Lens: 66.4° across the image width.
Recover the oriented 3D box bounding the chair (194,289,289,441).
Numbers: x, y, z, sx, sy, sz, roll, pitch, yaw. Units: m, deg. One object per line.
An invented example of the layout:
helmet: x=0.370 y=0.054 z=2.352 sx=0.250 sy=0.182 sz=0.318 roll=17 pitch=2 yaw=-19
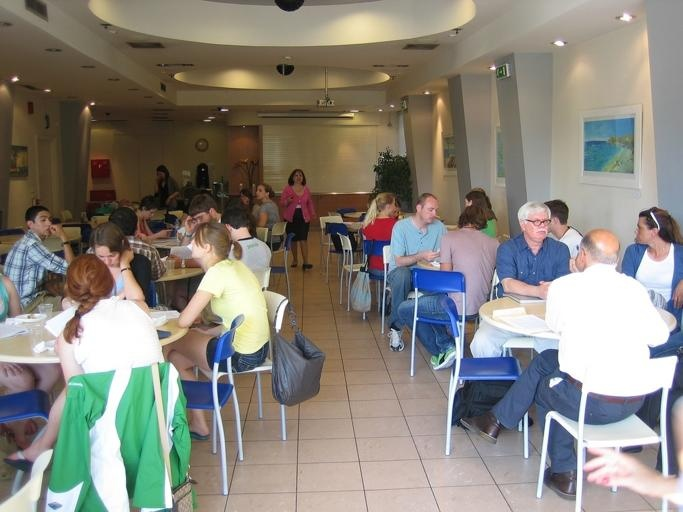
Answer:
chair: x=-0.892 y=0.734 z=4.198 sx=0.780 sy=1.408 sz=0.778 roll=0 pitch=3 yaw=-19

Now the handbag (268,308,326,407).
handbag: x=-0.286 y=0.719 z=3.406 sx=0.326 sy=0.487 sz=0.202 roll=-4 pitch=11 yaw=-22

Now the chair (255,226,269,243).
chair: x=-1.161 y=-0.302 z=7.860 sx=0.200 sy=0.271 sz=0.219 roll=4 pitch=16 yaw=1

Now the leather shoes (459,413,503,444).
leather shoes: x=1.019 y=1.219 z=3.780 sx=0.117 sy=0.166 sz=0.365 roll=10 pitch=5 yaw=-17

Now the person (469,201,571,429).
person: x=1.456 y=0.359 z=4.127 sx=0.849 sy=1.503 sz=0.945 roll=-2 pitch=9 yaw=-12

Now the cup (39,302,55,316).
cup: x=-2.081 y=0.374 z=3.690 sx=0.111 sy=0.109 sz=0.128 roll=0 pitch=-3 yaw=1

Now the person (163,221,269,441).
person: x=-0.894 y=0.573 z=3.834 sx=0.804 sy=1.562 sz=0.606 roll=4 pitch=2 yaw=12

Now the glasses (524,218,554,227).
glasses: x=1.593 y=-0.265 z=4.169 sx=0.222 sy=0.059 sz=0.084 roll=-4 pitch=11 yaw=-20

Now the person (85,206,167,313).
person: x=-1.886 y=-0.041 z=4.630 sx=0.362 sy=1.143 sz=0.305 roll=17 pitch=8 yaw=12

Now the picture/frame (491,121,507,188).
picture/frame: x=2.576 y=-1.628 z=8.503 sx=0.161 sy=0.957 sz=0.471 roll=2 pitch=10 yaw=12

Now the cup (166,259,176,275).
cup: x=-1.655 y=0.105 z=5.147 sx=0.097 sy=0.108 sz=0.100 roll=-1 pitch=-1 yaw=0

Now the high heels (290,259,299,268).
high heels: x=-0.899 y=0.160 z=10.187 sx=0.140 sy=0.177 sz=0.438 roll=-1 pitch=1 yaw=1

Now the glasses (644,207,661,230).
glasses: x=2.421 y=-0.287 z=4.041 sx=0.032 sy=0.134 sz=0.102 roll=-25 pitch=-21 yaw=23

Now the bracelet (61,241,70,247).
bracelet: x=-2.949 y=-0.128 z=5.598 sx=0.079 sy=0.046 sz=0.111 roll=-1 pitch=1 yaw=-12

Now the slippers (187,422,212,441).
slippers: x=-1.027 y=1.293 z=3.806 sx=0.105 sy=0.110 sz=0.262 roll=1 pitch=-3 yaw=-7

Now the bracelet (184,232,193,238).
bracelet: x=-1.818 y=-0.245 z=6.250 sx=0.067 sy=0.063 sz=0.078 roll=-2 pitch=1 yaw=-30

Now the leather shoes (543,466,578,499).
leather shoes: x=1.344 y=1.396 z=3.226 sx=0.077 sy=0.154 sz=0.214 roll=-1 pitch=9 yaw=-12
